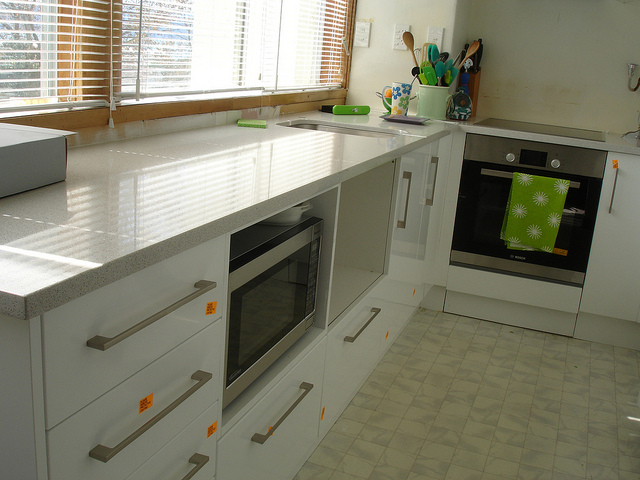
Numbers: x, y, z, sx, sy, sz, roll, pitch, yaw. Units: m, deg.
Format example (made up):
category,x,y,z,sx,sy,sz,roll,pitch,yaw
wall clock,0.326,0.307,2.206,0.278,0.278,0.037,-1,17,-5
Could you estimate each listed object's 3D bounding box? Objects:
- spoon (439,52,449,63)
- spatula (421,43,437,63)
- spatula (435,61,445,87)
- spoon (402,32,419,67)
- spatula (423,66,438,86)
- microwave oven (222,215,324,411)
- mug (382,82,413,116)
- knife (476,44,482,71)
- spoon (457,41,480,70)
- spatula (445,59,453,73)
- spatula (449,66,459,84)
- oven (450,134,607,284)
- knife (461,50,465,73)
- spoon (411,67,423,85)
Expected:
category,x,y,z,sx,sy,sz,roll,pitch,yaw
spoon,0.807,-1.183,3.035,0.060,0.060,0.124,7,23,13
spatula,0.715,-1.239,3.093,0.029,0.110,0.110,5,10,-33
spatula,0.774,-1.069,3.001,0.046,0.163,0.024,11,47,22
spoon,0.596,-1.251,3.061,0.053,0.253,0.034,-20,28,2
spatula,0.721,-1.066,3.031,0.069,0.127,0.033,-7,34,21
microwave oven,-0.182,0.171,1.416,0.161,0.413,0.598,11,24,22
mug,0.501,-0.935,3.095,0.184,0.188,0.144,6,22,10
knife,1.137,-1.300,3.346,0.031,0.191,0.027,7,-1,2
spoon,1.036,-1.272,3.223,0.132,0.181,0.184,-1,22,-6
spatula,0.841,-1.134,3.034,0.040,0.100,0.015,-6,54,-2
spatula,0.887,-1.089,3.095,0.068,0.076,0.077,15,35,18
oven,1.398,-0.321,3.236,0.852,0.882,0.720,6,19,18
knife,1.002,-1.263,3.300,0.030,0.129,0.034,3,-8,8
spoon,0.633,-1.088,3.093,0.042,0.133,0.070,-13,28,8
